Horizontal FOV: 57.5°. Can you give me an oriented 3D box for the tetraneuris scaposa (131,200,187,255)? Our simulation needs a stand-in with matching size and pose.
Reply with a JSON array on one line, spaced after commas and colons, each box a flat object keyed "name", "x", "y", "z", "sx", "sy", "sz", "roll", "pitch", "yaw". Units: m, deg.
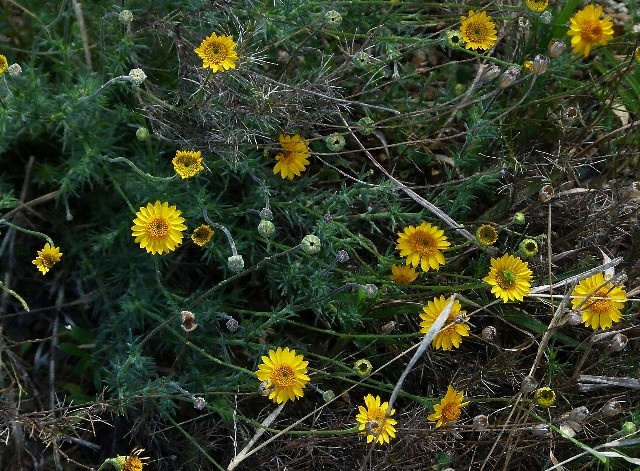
[{"name": "tetraneuris scaposa", "x": -0.652, "y": -0.023, "z": 2.360, "sx": 0.195, "sy": 0.157, "sz": 0.181, "roll": -5, "pitch": 49, "yaw": -26}]

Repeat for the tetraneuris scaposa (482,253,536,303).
[{"name": "tetraneuris scaposa", "x": 0.754, "y": 0.179, "z": 2.349, "sx": 0.206, "sy": 0.086, "sz": 0.204, "roll": -17, "pitch": 77, "yaw": -28}]

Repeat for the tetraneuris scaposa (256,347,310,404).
[{"name": "tetraneuris scaposa", "x": -0.151, "y": 0.568, "z": 2.300, "sx": 0.204, "sy": 0.232, "sz": 0.160, "roll": 19, "pitch": 42, "yaw": -2}]

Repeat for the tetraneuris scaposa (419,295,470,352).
[{"name": "tetraneuris scaposa", "x": 0.533, "y": 0.323, "z": 2.388, "sx": 0.202, "sy": 0.207, "sz": 0.071, "roll": 20, "pitch": 70, "yaw": -15}]

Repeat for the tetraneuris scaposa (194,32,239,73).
[{"name": "tetraneuris scaposa", "x": -0.435, "y": -0.752, "z": 2.376, "sx": 0.203, "sy": 0.206, "sz": 0.072, "roll": -8, "pitch": 87, "yaw": -12}]

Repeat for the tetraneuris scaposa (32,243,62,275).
[{"name": "tetraneuris scaposa", "x": -1.230, "y": 0.115, "z": 2.636, "sx": 0.140, "sy": 0.140, "sz": 0.057, "roll": 54, "pitch": 16, "yaw": 21}]

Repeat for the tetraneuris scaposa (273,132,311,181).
[{"name": "tetraneuris scaposa", "x": -0.137, "y": -0.359, "z": 2.663, "sx": 0.198, "sy": 0.174, "sz": 0.057, "roll": 36, "pitch": 42, "yaw": 27}]
